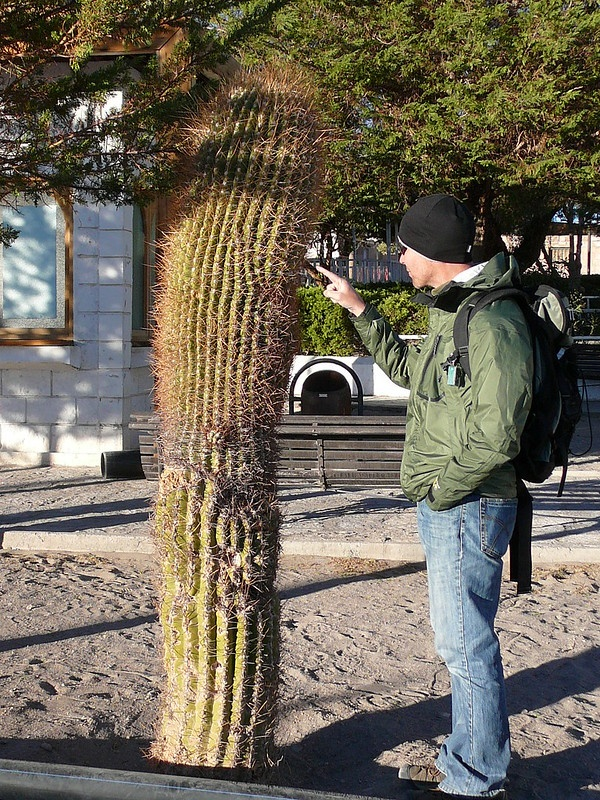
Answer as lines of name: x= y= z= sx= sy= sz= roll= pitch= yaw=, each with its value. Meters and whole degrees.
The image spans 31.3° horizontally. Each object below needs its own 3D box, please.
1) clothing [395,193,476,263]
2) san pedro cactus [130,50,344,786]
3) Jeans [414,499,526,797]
clothing: x=0.481 y=-0.597 z=3.750 sx=0.265 sy=0.246 sz=0.210 roll=2 pitch=6 yaw=44
san pedro cactus: x=-0.208 y=0.078 z=3.562 sx=0.560 sy=2.371 sz=0.395 roll=0 pitch=6 yaw=-8
Jeans: x=0.568 y=0.838 z=3.638 sx=0.292 sy=1.015 sz=0.205 roll=2 pitch=6 yaw=6
